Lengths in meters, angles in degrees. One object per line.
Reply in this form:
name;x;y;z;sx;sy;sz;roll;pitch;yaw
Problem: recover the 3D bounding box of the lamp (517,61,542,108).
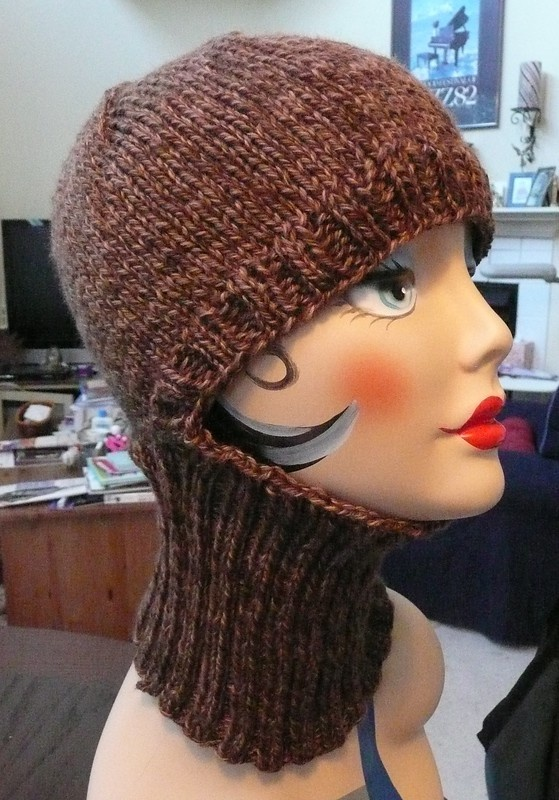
lamp;1.059;-1.339;3.413;0.091;0.188;0.090;0;27;11
